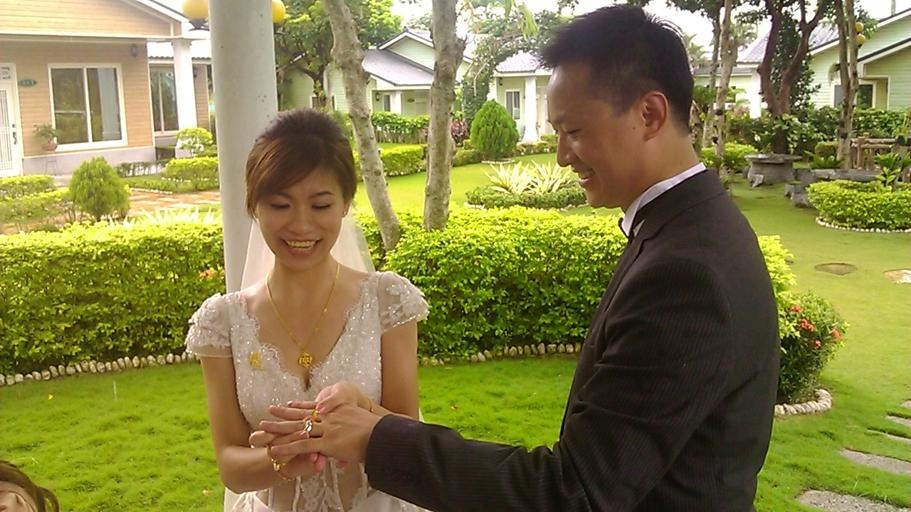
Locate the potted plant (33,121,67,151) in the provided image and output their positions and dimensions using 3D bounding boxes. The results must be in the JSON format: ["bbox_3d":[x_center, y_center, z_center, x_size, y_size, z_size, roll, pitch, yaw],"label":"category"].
[{"bbox_3d":[-12.711,-3.677,19.155,0.467,0.847,0.500,6,10,40],"label":"potted plant"}]

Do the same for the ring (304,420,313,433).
[{"bbox_3d":[-0.732,0.846,3.094,0.049,0.064,0.022,8,0,22],"label":"ring"}]

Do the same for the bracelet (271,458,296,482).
[{"bbox_3d":[-0.907,1.116,3.248,0.056,0.142,0.113,-48,2,-27],"label":"bracelet"}]

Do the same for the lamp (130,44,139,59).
[{"bbox_3d":[-10.983,-7.010,21.112,0.227,0.418,0.461,-3,7,-16],"label":"lamp"}]

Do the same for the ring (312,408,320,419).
[{"bbox_3d":[-0.700,0.789,3.094,0.018,0.063,0.016,4,36,-2],"label":"ring"}]
